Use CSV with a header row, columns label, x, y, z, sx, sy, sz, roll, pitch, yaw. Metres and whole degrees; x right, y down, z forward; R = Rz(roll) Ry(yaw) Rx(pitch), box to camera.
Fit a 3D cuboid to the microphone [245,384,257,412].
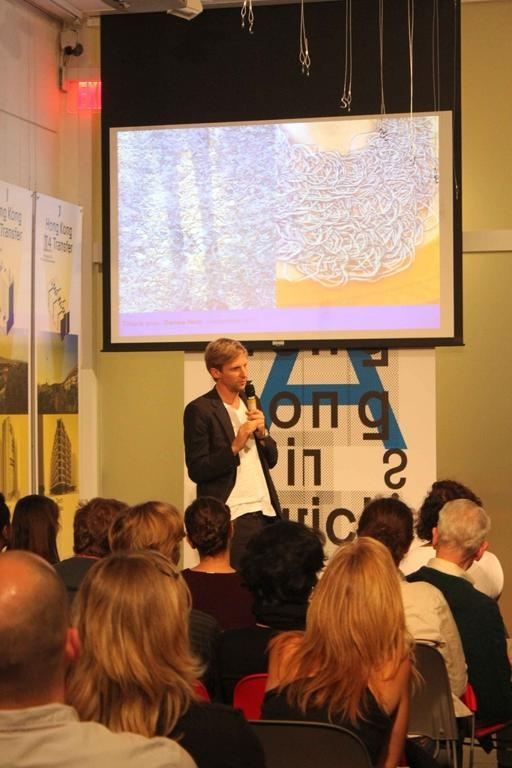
label,x,y,z,sx,sy,sz,roll,pitch,yaw
microphone,-0.027,0.066,3.735,0.056,0.137,0.161,1,-3,-1
